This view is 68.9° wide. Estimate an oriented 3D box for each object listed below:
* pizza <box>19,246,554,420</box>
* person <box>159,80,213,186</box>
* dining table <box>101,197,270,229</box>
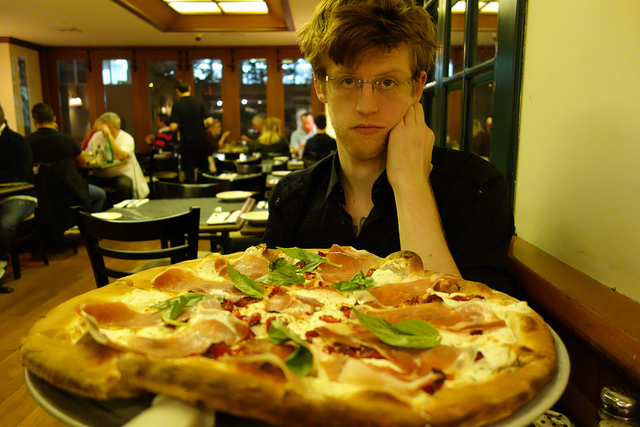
[{"bbox_3d":[-0.021,0.236,0.845,0.553,0.073,0.533,-1,9,-1],"label":"pizza"},{"bbox_3d":[-2.164,-1.202,7.597,0.783,1.813,0.597,-10,27,-33],"label":"person"},{"bbox_3d":[-0.955,0.036,3.110,0.853,0.181,0.582,-3,12,16],"label":"dining table"}]
